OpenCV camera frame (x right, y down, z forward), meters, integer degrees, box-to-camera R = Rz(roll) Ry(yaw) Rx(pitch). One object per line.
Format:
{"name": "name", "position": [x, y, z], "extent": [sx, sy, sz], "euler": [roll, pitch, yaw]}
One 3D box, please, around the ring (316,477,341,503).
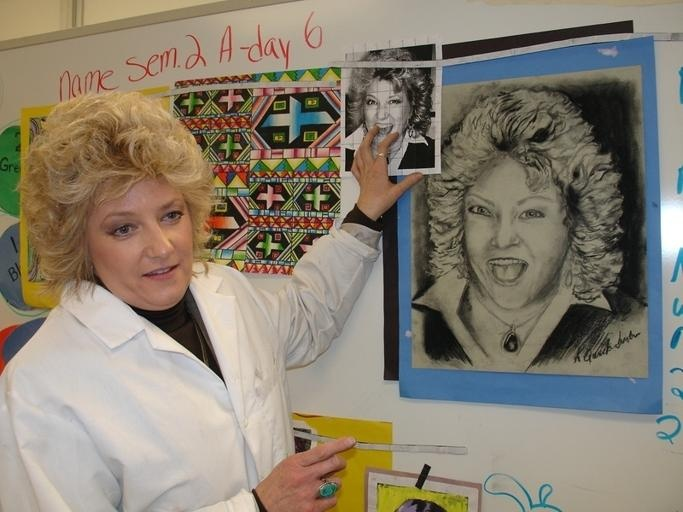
{"name": "ring", "position": [-0.036, 0.625, 1.962], "extent": [0.048, 0.026, 0.060], "euler": [-2, -27, -14]}
